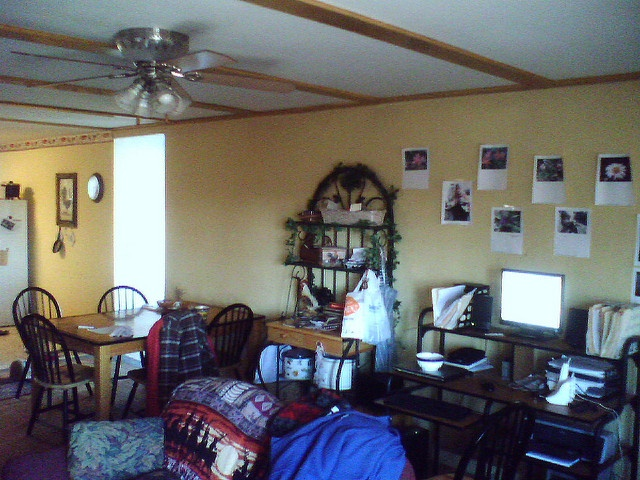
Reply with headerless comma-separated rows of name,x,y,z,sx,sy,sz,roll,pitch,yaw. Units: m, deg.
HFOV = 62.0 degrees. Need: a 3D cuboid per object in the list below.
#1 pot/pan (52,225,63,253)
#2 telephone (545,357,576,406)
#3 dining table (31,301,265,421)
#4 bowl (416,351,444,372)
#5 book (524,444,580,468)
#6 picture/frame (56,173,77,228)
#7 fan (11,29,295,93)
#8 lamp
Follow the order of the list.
pot/pan,-3.772,0.002,7.653,0.271,0.365,0.075,3,7,43
telephone,1.550,0.907,3.415,0.154,0.232,0.288,1,5,31
dining table,-1.587,0.837,4.606,1.318,0.571,1.908,4,5,42
bowl,0.765,0.876,3.808,0.193,0.059,0.161,2,-2,-29
book,1.404,1.312,3.243,0.227,0.027,0.149,3,2,34
picture/frame,-3.568,-0.559,7.477,0.633,0.767,0.058,2,7,40
fan,-0.855,-1.040,3.063,0.904,0.082,0.595,0,-1,-8
lamp,-0.989,-0.886,3.257,0.419,0.283,0.372,7,14,31
